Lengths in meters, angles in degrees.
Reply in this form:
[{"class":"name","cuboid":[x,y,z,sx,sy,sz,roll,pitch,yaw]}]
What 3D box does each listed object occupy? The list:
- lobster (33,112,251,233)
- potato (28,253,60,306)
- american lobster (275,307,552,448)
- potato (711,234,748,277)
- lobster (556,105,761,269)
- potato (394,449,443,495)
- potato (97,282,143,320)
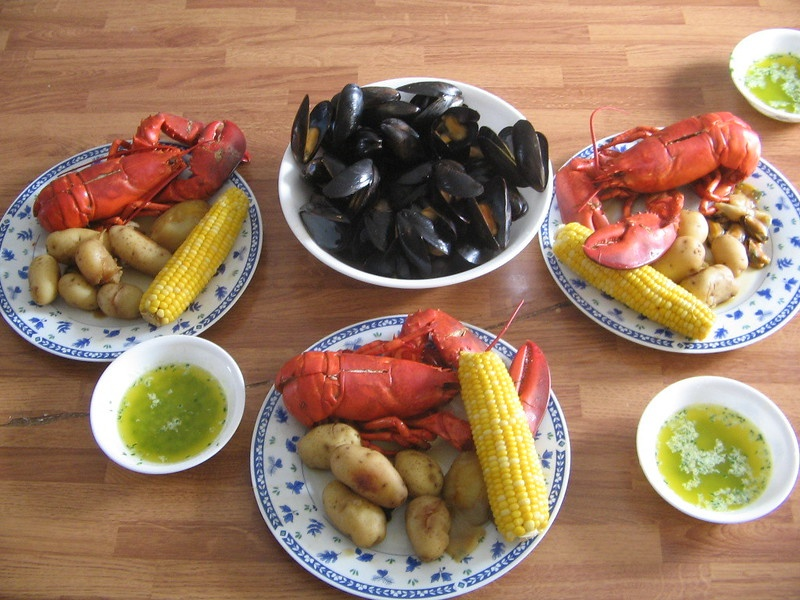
[{"class":"lobster","cuboid":[-0.969,-0.411,2.651,0.731,0.214,0.407,-29,70,-20]},{"class":"potato","cuboid":[-1.221,-0.070,2.390,0.098,0.094,0.172,-14,89,16]},{"class":"american lobster","cuboid":[0.048,0.250,2.129,0.747,0.172,0.412,-5,62,-2]},{"class":"potato","cuboid":[1.142,-0.159,2.405,0.111,0.086,0.142,4,56,-6]},{"class":"lobster","cuboid":[0.952,-0.491,2.553,0.867,0.205,0.520,-41,64,-3]},{"class":"potato","cuboid":[0.052,0.504,2.034,0.108,0.076,0.138,-12,44,-37]},{"class":"potato","cuboid":[-0.947,0.002,2.347,0.146,0.080,0.105,16,88,-5]}]
